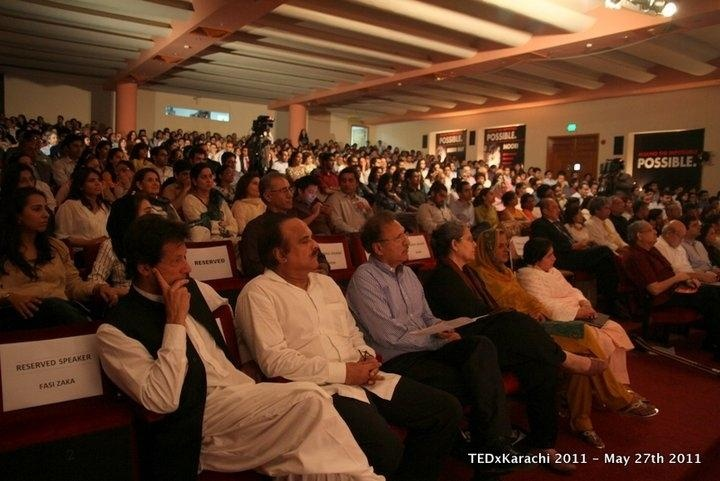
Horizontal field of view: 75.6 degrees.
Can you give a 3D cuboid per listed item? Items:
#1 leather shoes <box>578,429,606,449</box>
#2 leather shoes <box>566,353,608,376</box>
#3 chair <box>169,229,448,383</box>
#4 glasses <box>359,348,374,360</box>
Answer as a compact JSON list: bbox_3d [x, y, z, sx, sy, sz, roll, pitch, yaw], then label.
[{"bbox_3d":[1.621,1.399,3.262,0.069,0.075,0.186,-11,5,-22],"label":"leather shoes"},{"bbox_3d":[1.512,0.838,3.086,0.221,0.101,0.177,0,6,-7],"label":"leather shoes"},{"bbox_3d":[-0.319,0.336,2.750,0.812,0.906,0.827,-3,-3,39],"label":"chair"},{"bbox_3d":[0.040,0.663,2.671,0.088,0.049,0.072,5,-11,-9],"label":"glasses"}]
